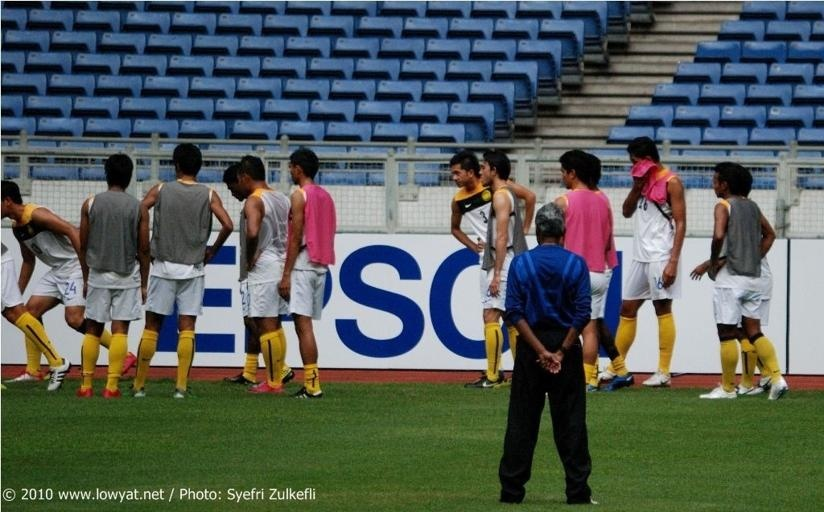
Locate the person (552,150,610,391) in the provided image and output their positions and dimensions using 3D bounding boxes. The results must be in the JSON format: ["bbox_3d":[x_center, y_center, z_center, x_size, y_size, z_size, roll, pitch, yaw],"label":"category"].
[{"bbox_3d":[2.979,0.168,35.307,1.214,3.716,1.135,0,0,-1],"label":"person"}]

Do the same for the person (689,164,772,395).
[{"bbox_3d":[5.649,0.440,34.996,1.310,4.100,0.652,0,2,7],"label":"person"}]

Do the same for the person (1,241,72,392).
[{"bbox_3d":[-6.663,1.140,35.114,1.173,2.378,0.458,1,2,11],"label":"person"}]
